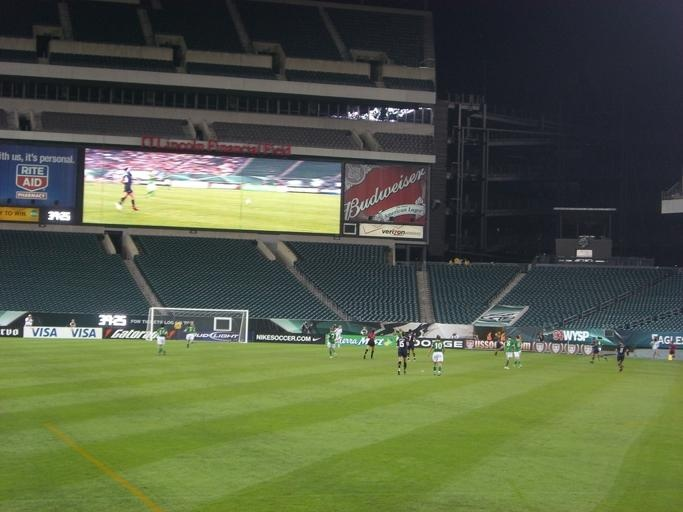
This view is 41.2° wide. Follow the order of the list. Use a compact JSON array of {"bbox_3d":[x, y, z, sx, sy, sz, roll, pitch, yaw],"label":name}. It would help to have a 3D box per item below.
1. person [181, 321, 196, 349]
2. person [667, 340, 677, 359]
[{"bbox_3d":[-10.454,5.605,62.997,0.565,1.625,0.752,8,9,-3],"label":"person"},{"bbox_3d":[22.978,6.640,63.171,0.488,1.209,2.138,4,6,19],"label":"person"}]
